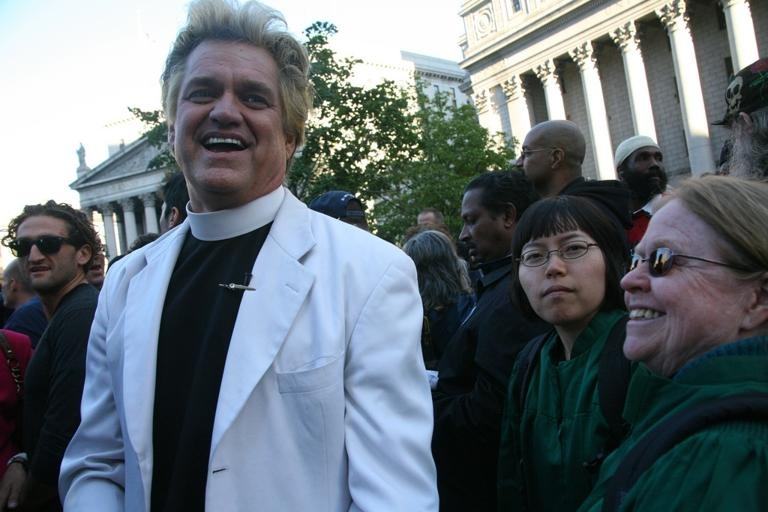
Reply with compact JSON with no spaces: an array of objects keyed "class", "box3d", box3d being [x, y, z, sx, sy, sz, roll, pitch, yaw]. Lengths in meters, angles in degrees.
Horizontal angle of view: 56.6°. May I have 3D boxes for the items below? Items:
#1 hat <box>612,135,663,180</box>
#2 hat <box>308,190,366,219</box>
[{"class":"hat","box3d":[2.512,-1.081,7.229,0.474,0.309,0.479,-7,-2,-10]},{"class":"hat","box3d":[-0.440,-0.487,6.559,0.527,0.280,0.368,8,0,2]}]
